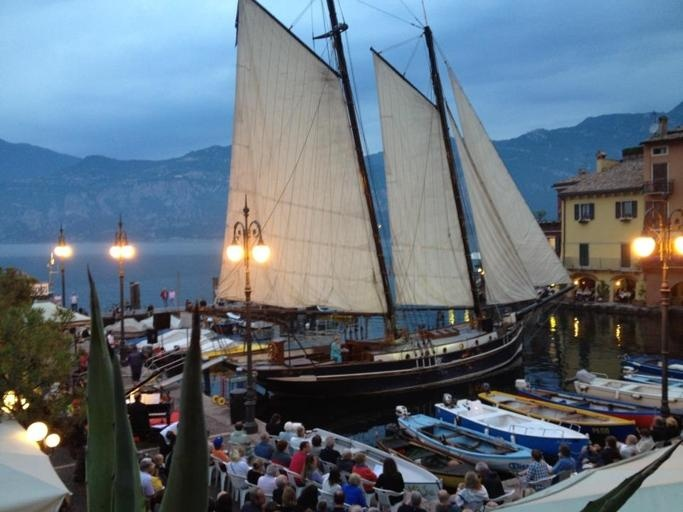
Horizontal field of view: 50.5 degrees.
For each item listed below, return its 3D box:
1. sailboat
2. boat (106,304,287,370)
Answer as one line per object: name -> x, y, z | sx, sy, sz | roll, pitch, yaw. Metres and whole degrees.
sailboat -> 1.810, -0.486, 32.524 | 16.213, 19.154, 3.460 | -1, 0, -31
boat -> -6.270, 3.663, 32.358 | 6.910, 2.821, 3.804 | -3, 9, -14
